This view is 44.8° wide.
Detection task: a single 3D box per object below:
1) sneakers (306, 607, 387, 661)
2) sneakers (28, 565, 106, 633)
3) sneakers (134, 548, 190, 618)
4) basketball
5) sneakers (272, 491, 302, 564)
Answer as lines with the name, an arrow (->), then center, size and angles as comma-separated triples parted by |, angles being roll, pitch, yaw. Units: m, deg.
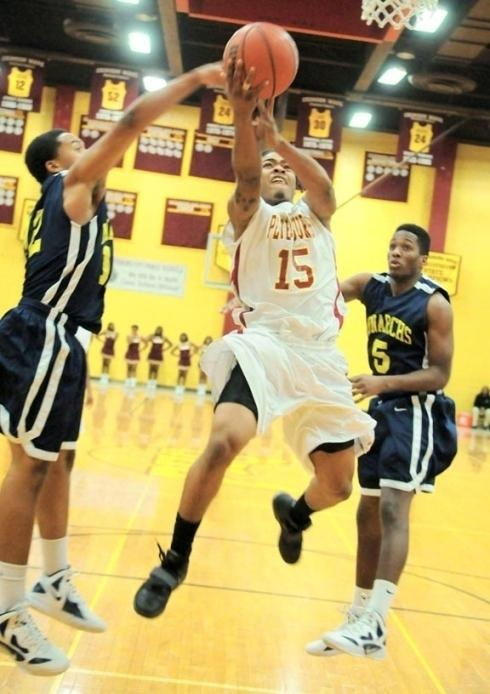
sneakers -> 0.339, 0.884, 1.812 | 0.328, 0.152, 0.109 | 21, -29, -35
sneakers -> -0.535, 0.772, 1.855 | 0.257, 0.150, 0.091 | 19, 4, 12
sneakers -> -0.235, 0.645, 1.632 | 0.081, 0.168, 0.186 | 9, -3, 13
basketball -> 0.063, -0.912, 1.908 | 0.218, 0.241, 0.215 | -31, 30, -31
sneakers -> 0.173, 0.797, 2.635 | 0.117, 0.324, 0.131 | -1, 8, -12
